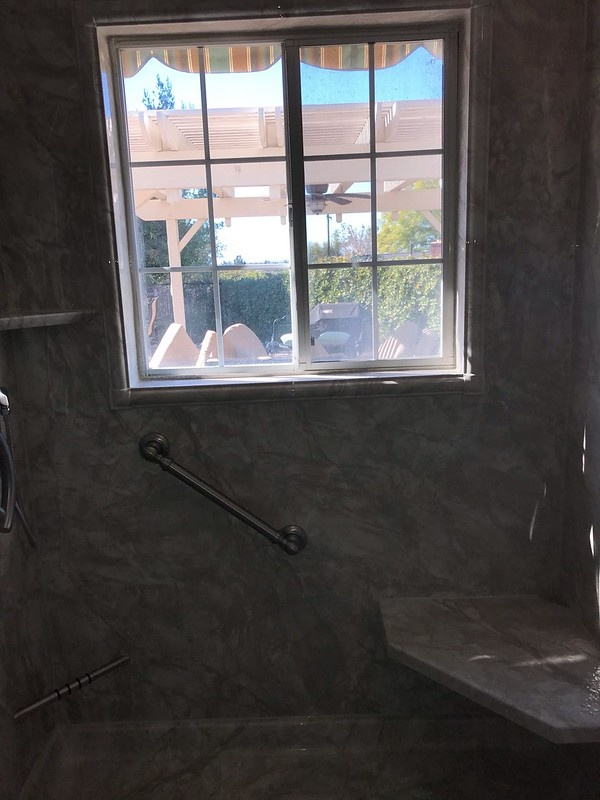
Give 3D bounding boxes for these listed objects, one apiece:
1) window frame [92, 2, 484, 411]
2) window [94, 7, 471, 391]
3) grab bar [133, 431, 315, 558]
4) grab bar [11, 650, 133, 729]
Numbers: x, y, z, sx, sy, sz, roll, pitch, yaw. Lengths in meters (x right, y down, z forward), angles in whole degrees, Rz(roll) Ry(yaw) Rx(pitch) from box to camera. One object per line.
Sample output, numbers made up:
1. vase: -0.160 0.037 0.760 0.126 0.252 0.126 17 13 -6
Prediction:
1. window frame: -0.027 -0.454 1.612 0.888 0.825 0.090 -2 19 -2
2. window: -0.039 -0.475 1.617 0.846 0.767 0.084 -1 20 -2
3. grab bar: -0.190 0.208 1.664 0.081 0.348 0.102 -57 11 -21
4. grab bar: -0.460 0.635 1.721 0.410 0.057 0.061 -14 42 -39
